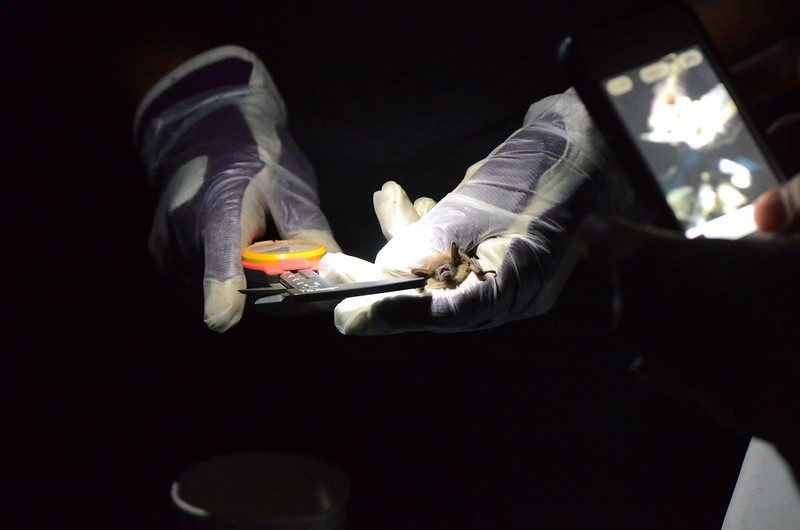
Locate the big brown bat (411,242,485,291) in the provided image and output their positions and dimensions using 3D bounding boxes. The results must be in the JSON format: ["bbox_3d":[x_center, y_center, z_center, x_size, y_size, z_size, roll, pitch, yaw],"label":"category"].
[{"bbox_3d":[0.076,-0.005,1.158,0.135,0.063,0.098,-7,16,14],"label":"big brown bat"}]

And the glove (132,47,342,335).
[{"bbox_3d":[-0.339,-0.147,1.341,0.284,0.503,0.250,-17,-9,-23],"label":"glove"}]

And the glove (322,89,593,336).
[{"bbox_3d":[0.137,-0.075,1.200,0.294,0.531,0.195,21,-28,30],"label":"glove"}]
